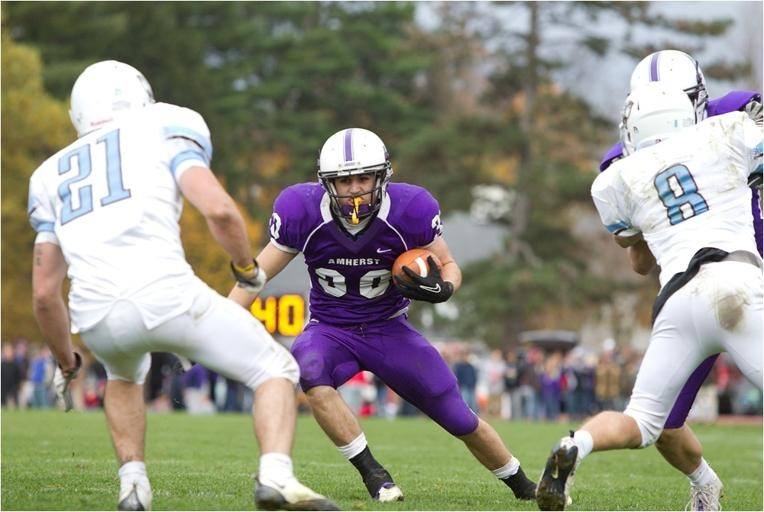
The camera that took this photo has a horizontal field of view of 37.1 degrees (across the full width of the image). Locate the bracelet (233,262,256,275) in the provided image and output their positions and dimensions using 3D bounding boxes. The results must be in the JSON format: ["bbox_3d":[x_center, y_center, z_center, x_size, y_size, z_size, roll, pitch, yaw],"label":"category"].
[{"bbox_3d":[-1.234,0.112,10.252,0.150,0.088,0.116,0,-7,12],"label":"bracelet"}]

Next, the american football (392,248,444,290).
[{"bbox_3d":[0.353,0.065,11.125,0.430,0.370,0.382,16,3,11],"label":"american football"}]

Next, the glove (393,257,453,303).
[{"bbox_3d":[0.400,0.227,11.092,0.588,0.394,0.257,-3,1,2],"label":"glove"}]
